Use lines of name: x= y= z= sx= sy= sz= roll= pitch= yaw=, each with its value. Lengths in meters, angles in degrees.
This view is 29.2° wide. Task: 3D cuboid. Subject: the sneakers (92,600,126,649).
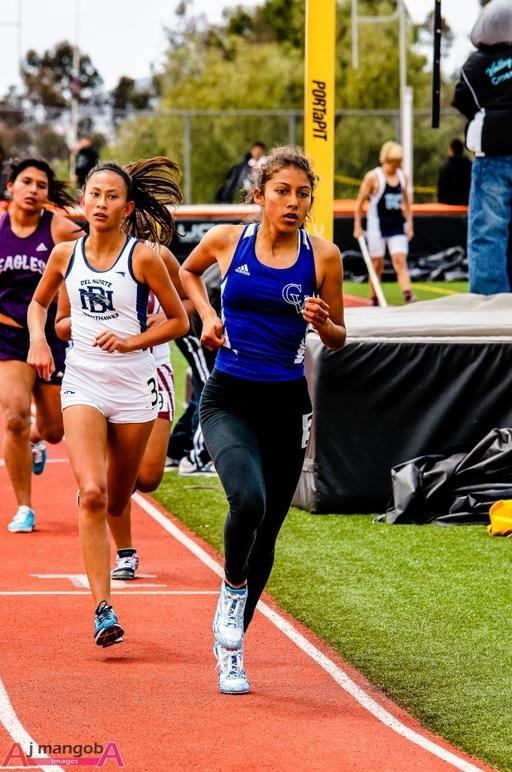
sneakers: x=-0.492 y=0.802 z=3.286 sx=0.088 sy=0.150 sz=0.132 roll=1 pitch=4 yaw=-11

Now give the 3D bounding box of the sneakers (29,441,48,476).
sneakers: x=-1.437 y=0.484 z=6.489 sx=0.111 sy=0.318 sz=0.126 roll=-8 pitch=22 yaw=-23

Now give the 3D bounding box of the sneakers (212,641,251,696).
sneakers: x=-0.080 y=0.880 z=3.088 sx=0.079 sy=0.084 sz=0.199 roll=1 pitch=17 yaw=-12

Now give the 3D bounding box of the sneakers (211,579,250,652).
sneakers: x=-0.088 y=0.709 z=3.082 sx=0.079 sy=0.227 sz=0.104 roll=8 pitch=-41 yaw=-18

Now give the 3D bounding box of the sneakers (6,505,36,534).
sneakers: x=-1.320 y=0.767 z=5.581 sx=0.095 sy=0.088 sz=0.199 roll=0 pitch=-6 yaw=1
